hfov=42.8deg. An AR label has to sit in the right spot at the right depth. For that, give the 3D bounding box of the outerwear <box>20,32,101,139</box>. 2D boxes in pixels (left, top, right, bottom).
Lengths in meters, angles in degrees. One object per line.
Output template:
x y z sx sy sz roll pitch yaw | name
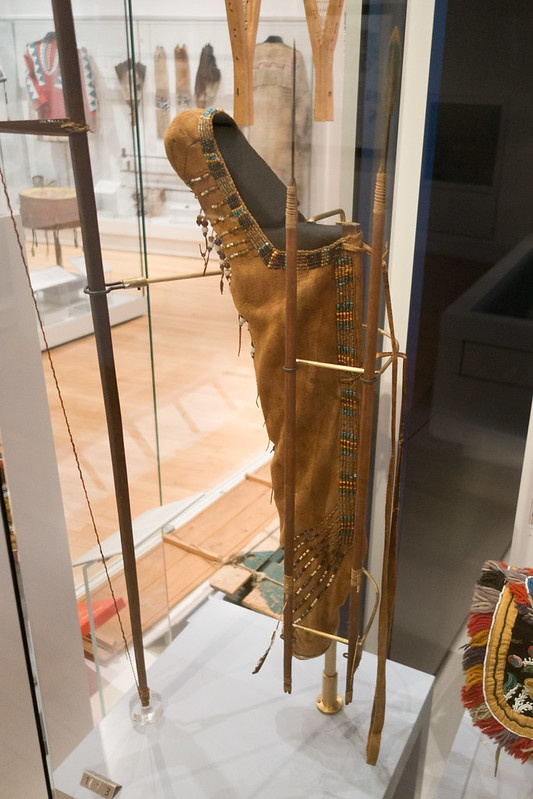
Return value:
-0.326 -0.494 1.061 0.101 0.154 0.026 -15 65 -17 | outerwear

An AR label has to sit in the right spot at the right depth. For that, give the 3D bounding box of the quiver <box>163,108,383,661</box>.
0.021 0.019 0.981 0.135 0.810 0.329 -18 27 -33 | quiver
